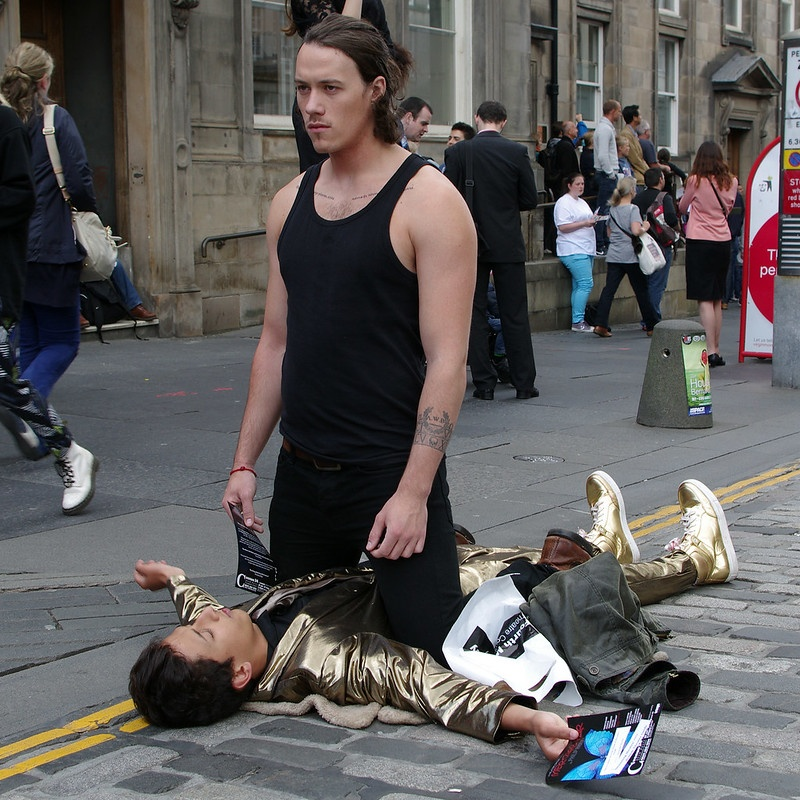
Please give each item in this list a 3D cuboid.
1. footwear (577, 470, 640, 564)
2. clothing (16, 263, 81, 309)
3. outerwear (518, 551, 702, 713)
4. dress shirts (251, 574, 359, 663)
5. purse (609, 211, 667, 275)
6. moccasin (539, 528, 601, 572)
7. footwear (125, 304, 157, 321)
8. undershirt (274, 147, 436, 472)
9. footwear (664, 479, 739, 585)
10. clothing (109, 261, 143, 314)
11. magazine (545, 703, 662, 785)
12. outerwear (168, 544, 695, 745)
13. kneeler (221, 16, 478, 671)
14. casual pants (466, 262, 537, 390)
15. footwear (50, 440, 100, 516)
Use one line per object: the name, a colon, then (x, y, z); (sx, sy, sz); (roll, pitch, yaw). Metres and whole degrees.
footwear: (0.851, 0.487, 4.471); (0.123, 0.158, 0.355); (-36, 40, 18)
clothing: (-2.011, -0.638, 6.137); (0.311, 0.272, 0.160); (3, -19, -8)
outerwear: (0.579, 0.667, 3.110); (0.391, 0.205, 0.470); (-18, 39, -24)
dress shirts: (-0.290, 0.602, 3.146); (0.242, 0.172, 0.170); (-35, 36, 13)
purse: (2.916, -1.949, 13.311); (0.267, 0.896, 0.396); (-45, 27, -28)
moccasin: (0.547, 0.496, 3.601); (0.163, 0.111, 0.131); (16, -14, -19)
footwear: (-2.876, -0.952, 12.051); (0.358, 0.141, 0.121); (3, 10, 3)
undershirt: (-0.127, -0.259, 3.057); (0.506, 0.838, 0.385); (12, 9, 40)
footwear: (1.177, 0.534, 4.247); (0.173, 0.495, 0.222); (-30, -39, 35)
clothing: (-3.013, -1.309, 11.929); (0.166, 0.538, 0.123); (-10, 34, 13)
magazine: (0.477, 0.809, 2.543); (0.224, 0.021, 0.179); (8, 45, 11)
outerwear: (-0.138, 0.705, 3.004); (0.770, 0.152, 0.699); (-1, 4, -29)
kneeler: (-0.137, -0.146, 3.017); (0.395, 1.718, 0.749); (-7, 11, -42)
casual pants: (0.817, -0.705, 9.149); (0.539, 1.298, 0.336); (-3, 0, -1)
footwear: (-1.548, 0.369, 5.176); (0.181, 0.326, 0.231); (-2, 9, -17)
